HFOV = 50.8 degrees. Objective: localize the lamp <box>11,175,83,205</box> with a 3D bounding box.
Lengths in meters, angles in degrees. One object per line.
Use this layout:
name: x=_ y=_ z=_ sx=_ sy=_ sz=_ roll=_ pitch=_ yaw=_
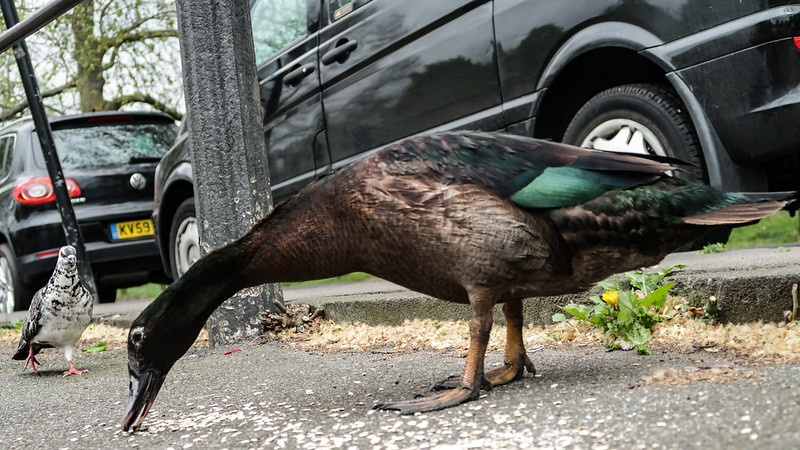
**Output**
lamp: x=-4.552 y=-0.445 z=10.843 sx=0.865 sy=0.449 sz=0.221 roll=-5 pitch=17 yaw=-3
